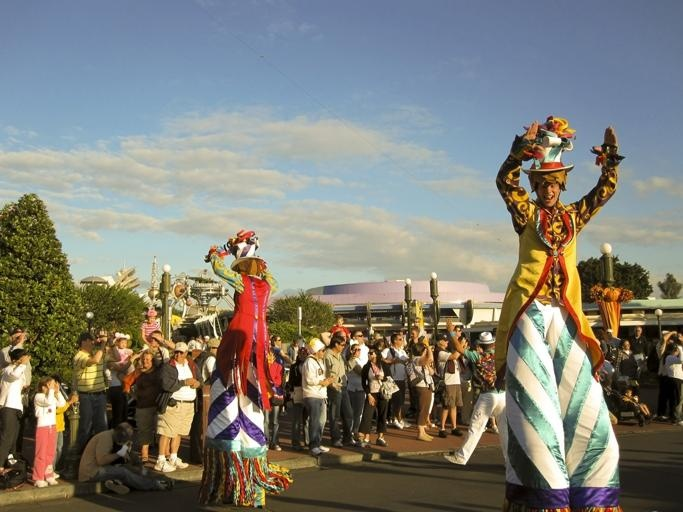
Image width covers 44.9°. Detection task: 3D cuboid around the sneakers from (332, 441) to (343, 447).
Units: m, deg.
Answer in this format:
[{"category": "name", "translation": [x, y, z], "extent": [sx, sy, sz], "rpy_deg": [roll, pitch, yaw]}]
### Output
[{"category": "sneakers", "translation": [0.303, 3.335, 14.666], "extent": [0.125, 0.060, 0.085], "rpy_deg": [4, -7, 31]}]

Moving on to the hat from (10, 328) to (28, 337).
[{"category": "hat", "translation": [-5.154, 1.146, 12.483], "extent": [0.190, 0.115, 0.329], "rpy_deg": [4, -5, -12]}]

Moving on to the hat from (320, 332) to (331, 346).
[{"category": "hat", "translation": [0.078, 1.507, 15.143], "extent": [0.208, 0.109, 0.239], "rpy_deg": [11, -43, 22]}]

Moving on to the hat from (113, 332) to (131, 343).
[{"category": "hat", "translation": [-3.893, 1.431, 14.571], "extent": [0.357, 0.125, 0.361], "rpy_deg": [2, -6, 38]}]

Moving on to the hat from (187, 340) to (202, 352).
[{"category": "hat", "translation": [-2.696, 1.681, 15.514], "extent": [0.250, 0.117, 0.306], "rpy_deg": [-1, -3, 14]}]

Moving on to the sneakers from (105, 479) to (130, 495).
[{"category": "sneakers", "translation": [-3.191, 3.206, 11.487], "extent": [0.466, 0.143, 0.165], "rpy_deg": [13, -15, 12]}]

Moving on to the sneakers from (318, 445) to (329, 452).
[{"category": "sneakers", "translation": [0.044, 3.224, 13.802], "extent": [0.083, 0.076, 0.232], "rpy_deg": [1, 2, 24]}]

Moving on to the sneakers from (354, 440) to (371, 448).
[{"category": "sneakers", "translation": [0.783, 3.331, 14.627], "extent": [0.328, 0.123, 0.118], "rpy_deg": [2, -7, 34]}]

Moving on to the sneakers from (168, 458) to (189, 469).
[{"category": "sneakers", "translation": [-2.433, 3.152, 12.521], "extent": [0.353, 0.119, 0.115], "rpy_deg": [3, -5, 12]}]

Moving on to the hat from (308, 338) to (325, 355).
[{"category": "hat", "translation": [-0.131, 1.536, 14.163], "extent": [0.226, 0.226, 0.274], "rpy_deg": [-15, -19, -33]}]

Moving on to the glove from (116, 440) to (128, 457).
[{"category": "glove", "translation": [-3.196, 2.774, 11.773], "extent": [0.126, 0.174, 0.227], "rpy_deg": [1, -6, 25]}]

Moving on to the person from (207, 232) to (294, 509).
[{"category": "person", "translation": [-1.119, 1.424, 10.619], "extent": [1.229, 3.535, 0.570], "rpy_deg": [4, -6, 0]}]

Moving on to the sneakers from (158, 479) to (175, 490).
[{"category": "sneakers", "translation": [-2.457, 3.192, 11.524], "extent": [0.244, 0.111, 0.179], "rpy_deg": [3, -5, -11]}]

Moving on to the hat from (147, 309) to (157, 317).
[{"category": "hat", "translation": [-3.931, 1.174, 16.953], "extent": [0.279, 0.157, 0.336], "rpy_deg": [0, -7, -10]}]

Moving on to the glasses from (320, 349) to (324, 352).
[{"category": "glasses", "translation": [-0.008, 1.622, 14.163], "extent": [0.060, 0.062, 0.073], "rpy_deg": [-1, -9, 7]}]

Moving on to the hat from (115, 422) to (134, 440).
[{"category": "hat", "translation": [-3.212, 2.524, 11.809], "extent": [0.280, 0.285, 0.325], "rpy_deg": [4, -6, -14]}]

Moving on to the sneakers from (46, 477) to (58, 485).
[{"category": "sneakers", "translation": [-4.245, 3.138, 11.531], "extent": [0.172, 0.085, 0.218], "rpy_deg": [4, -5, -19]}]

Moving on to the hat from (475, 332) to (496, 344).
[{"category": "hat", "translation": [3.075, 1.370, 13.886], "extent": [0.370, 0.123, 0.367], "rpy_deg": [-2, 1, 2]}]

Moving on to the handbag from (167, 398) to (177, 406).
[{"category": "handbag", "translation": [-2.556, 2.196, 12.441], "extent": [0.147, 0.113, 0.031], "rpy_deg": [-1, -11, -12]}]
